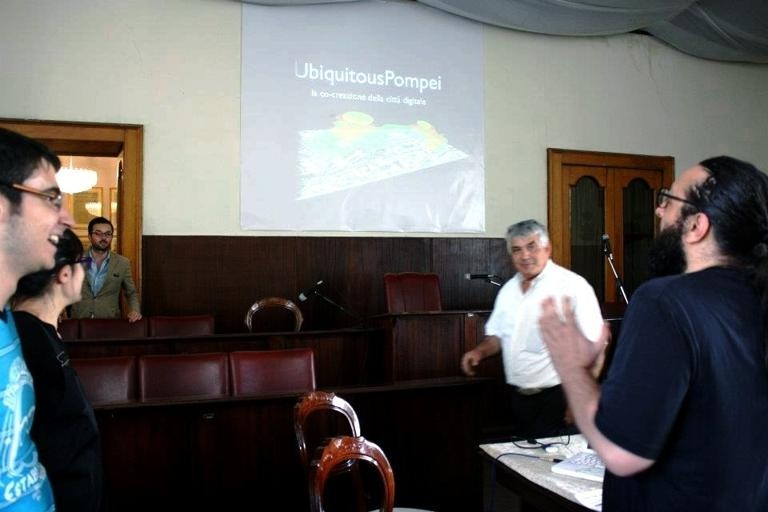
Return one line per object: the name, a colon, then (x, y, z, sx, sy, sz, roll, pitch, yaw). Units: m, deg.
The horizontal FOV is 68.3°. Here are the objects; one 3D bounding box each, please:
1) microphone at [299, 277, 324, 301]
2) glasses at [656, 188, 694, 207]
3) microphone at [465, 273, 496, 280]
microphone: (-0.773, 0.348, 5.923, 0.149, 0.080, 0.383, 20, -22, -27)
glasses: (0.884, -0.184, 1.716, 0.065, 0.020, 0.065, 20, 7, 13)
microphone: (0.905, 0.189, 5.321, 0.115, 0.099, 0.445, 4, 0, 41)
